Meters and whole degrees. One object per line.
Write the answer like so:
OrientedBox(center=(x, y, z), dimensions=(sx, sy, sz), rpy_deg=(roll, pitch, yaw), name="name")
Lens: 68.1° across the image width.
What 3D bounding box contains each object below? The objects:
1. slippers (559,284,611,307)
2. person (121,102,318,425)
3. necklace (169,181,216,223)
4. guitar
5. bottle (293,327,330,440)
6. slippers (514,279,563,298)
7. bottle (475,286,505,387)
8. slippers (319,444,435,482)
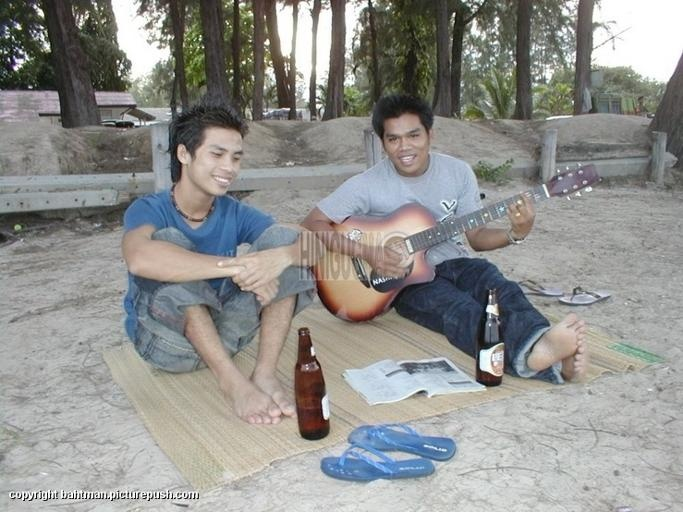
OrientedBox(center=(2.040, 0.357, 4.227), dimensions=(0.304, 0.043, 0.224), rpy_deg=(-4, 15, 25), name="slippers")
OrientedBox(center=(-0.699, -0.041, 2.979), dimensions=(1.144, 1.661, 0.868), rpy_deg=(4, 16, 20), name="person")
OrientedBox(center=(-0.909, -0.339, 3.157), dimensions=(0.262, 0.231, 0.248), rpy_deg=(-3, 16, 31), name="necklace")
OrientedBox(center=(0.598, -0.025, 3.854), dimensions=(2.368, 0.923, 0.357), rpy_deg=(-20, -9, 13), name="guitar")
OrientedBox(center=(-0.152, 0.623, 2.540), dimensions=(0.168, 0.586, 0.172), rpy_deg=(-2, 15, 0), name="bottle")
OrientedBox(center=(1.777, 0.308, 4.550), dimensions=(0.283, 0.093, 0.168), rpy_deg=(5, 23, 39), name="slippers")
OrientedBox(center=(0.866, 0.466, 2.973), dimensions=(0.157, 0.565, 0.178), rpy_deg=(1, 8, 17), name="bottle")
OrientedBox(center=(0.165, 0.948, 2.359), dimensions=(0.530, 0.091, 0.200), rpy_deg=(-2, 14, -2), name="slippers")
